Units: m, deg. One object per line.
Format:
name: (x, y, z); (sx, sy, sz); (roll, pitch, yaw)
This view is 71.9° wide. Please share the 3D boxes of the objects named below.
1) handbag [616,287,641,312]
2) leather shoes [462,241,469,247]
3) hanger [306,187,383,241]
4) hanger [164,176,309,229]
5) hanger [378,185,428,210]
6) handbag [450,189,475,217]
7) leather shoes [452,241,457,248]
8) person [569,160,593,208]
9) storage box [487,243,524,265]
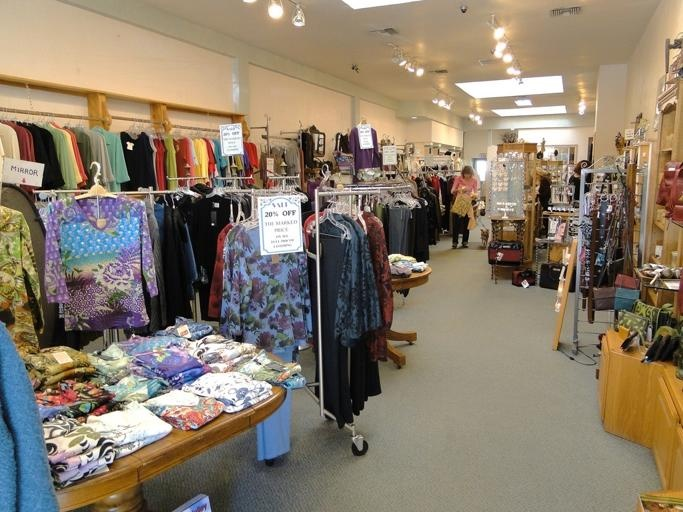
handbag: (2.298, 0.356, 3.770); (0.167, 0.192, 0.050); (5, 1, 39)
leather shoes: (3.012, -0.295, 11.321); (0.095, 0.188, 0.288); (7, 15, 36)
hanger: (0.022, -0.384, 3.498); (0.524, 0.335, 1.358); (0, 13, 4)
hanger: (-0.909, -0.436, 4.166); (0.692, 0.370, 1.021); (1, 2, 28)
hanger: (0.911, -0.853, 7.058); (0.592, 0.295, 1.056); (4, 14, 19)
handbag: (2.648, -1.159, 10.189); (0.454, 1.009, 0.124); (15, 34, 29)
leather shoes: (2.684, -0.266, 11.072); (0.062, 0.131, 0.194); (5, 15, 28)
person: (4.402, -1.336, 8.622); (0.434, 0.791, 0.445); (1, 8, 12)
storage box: (2.602, -0.035, 7.448); (0.466, 0.368, 0.348); (0, -2, 19)
